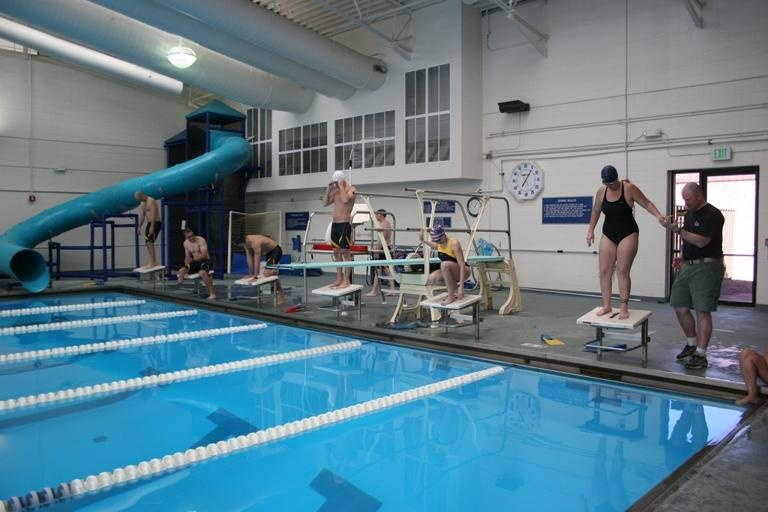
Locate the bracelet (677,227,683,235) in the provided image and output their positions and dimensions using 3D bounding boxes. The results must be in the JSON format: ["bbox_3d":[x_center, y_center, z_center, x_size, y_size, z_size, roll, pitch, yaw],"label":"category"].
[{"bbox_3d":[3.347,-0.270,6.053,0.082,0.062,0.082,1,-2,6],"label":"bracelet"}]

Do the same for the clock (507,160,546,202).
[{"bbox_3d":[3.079,-1.583,11.577,0.787,0.850,0.208,10,17,39],"label":"clock"}]

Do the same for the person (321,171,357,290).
[{"bbox_3d":[-0.726,-0.401,9.224,0.544,2.032,1.336,-2,13,-3],"label":"person"}]

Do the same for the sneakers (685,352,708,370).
[{"bbox_3d":[3.650,1.225,6.220,0.364,0.174,0.130,5,-7,-44],"label":"sneakers"}]

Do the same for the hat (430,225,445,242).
[{"bbox_3d":[0.791,-0.327,7.842,0.174,0.234,0.268,0,13,5],"label":"hat"}]

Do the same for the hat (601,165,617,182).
[{"bbox_3d":[2.731,-0.967,6.468,0.174,0.207,0.206,5,15,23],"label":"hat"}]

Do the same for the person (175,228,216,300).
[{"bbox_3d":[-3.867,0.199,11.053,0.671,1.528,1.918,-6,14,-21],"label":"person"}]

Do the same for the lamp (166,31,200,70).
[{"bbox_3d":[-4.231,-4.225,11.256,0.627,0.669,0.618,-2,2,42],"label":"lamp"}]
